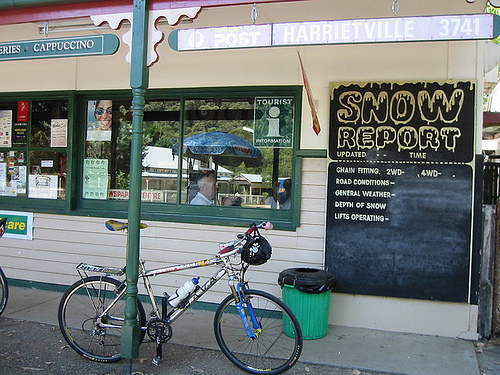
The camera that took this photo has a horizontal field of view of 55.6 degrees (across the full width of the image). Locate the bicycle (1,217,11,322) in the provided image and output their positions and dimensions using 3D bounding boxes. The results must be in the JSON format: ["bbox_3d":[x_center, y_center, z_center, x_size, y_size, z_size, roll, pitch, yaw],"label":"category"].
[{"bbox_3d":[-3.469,0.988,6.695,0.117,1.291,1.834,-3,9,-27],"label":"bicycle"}]

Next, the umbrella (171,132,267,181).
[{"bbox_3d":[-0.459,-0.541,6.760,0.776,0.542,0.779,7,2,9],"label":"umbrella"}]

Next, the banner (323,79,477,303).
[{"bbox_3d":[1.877,0.024,6.039,1.817,2.788,0.416,3,8,10],"label":"banner"}]
